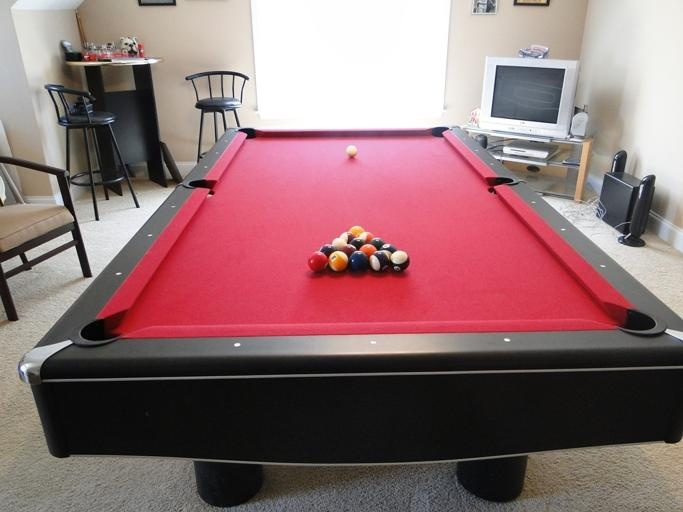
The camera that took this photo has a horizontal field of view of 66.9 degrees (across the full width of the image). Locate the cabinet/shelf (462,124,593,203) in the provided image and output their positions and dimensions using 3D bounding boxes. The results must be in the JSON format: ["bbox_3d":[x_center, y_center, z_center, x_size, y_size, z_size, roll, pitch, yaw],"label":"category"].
[{"bbox_3d":[1.506,-0.746,4.044,1.011,0.553,0.366,15,43,19],"label":"cabinet/shelf"}]

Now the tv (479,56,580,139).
[{"bbox_3d":[1.698,-1.412,4.632,0.789,0.589,0.189,16,28,33],"label":"tv"}]

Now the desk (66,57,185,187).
[{"bbox_3d":[-2.047,-1.270,4.966,0.929,1.276,0.677,-12,29,-29],"label":"desk"}]

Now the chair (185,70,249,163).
[{"bbox_3d":[-1.143,-1.492,5.059,0.633,1.104,0.597,-12,27,-27],"label":"chair"}]

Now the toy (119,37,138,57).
[{"bbox_3d":[-1.943,-1.899,4.705,0.150,0.181,0.184,-19,29,-33],"label":"toy"}]

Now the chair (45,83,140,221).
[{"bbox_3d":[-2.196,-1.048,4.512,0.690,1.438,0.691,-2,26,-12],"label":"chair"}]
